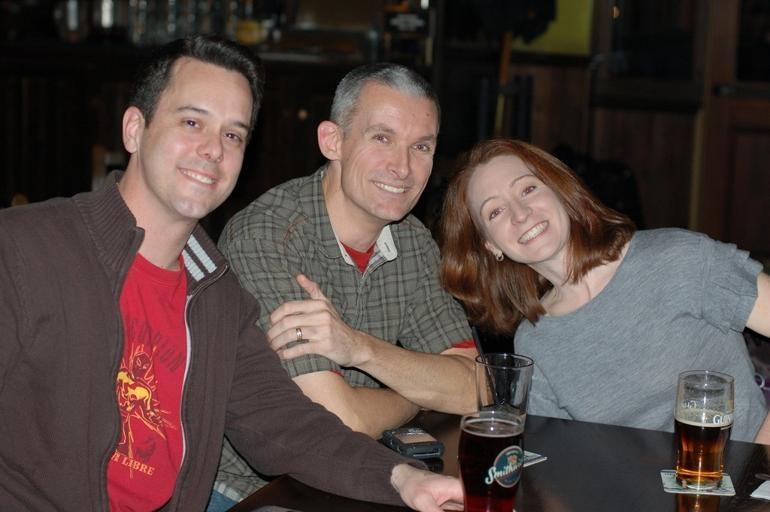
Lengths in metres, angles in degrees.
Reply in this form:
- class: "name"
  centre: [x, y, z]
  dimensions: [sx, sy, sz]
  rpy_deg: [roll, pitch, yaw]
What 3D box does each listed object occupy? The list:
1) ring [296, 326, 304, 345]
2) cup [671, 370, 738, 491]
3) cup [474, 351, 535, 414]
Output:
- class: "ring"
  centre: [-0.306, 0.287, 2.471]
  dimensions: [0.031, 0.050, 0.049]
  rpy_deg: [-5, 6, -3]
- class: "cup"
  centre: [0.897, 0.489, 1.953]
  dimensions: [0.147, 0.301, 0.157]
  rpy_deg: [3, 6, 0]
- class: "cup"
  centre: [0.342, 0.387, 2.018]
  dimensions: [0.162, 0.192, 0.173]
  rpy_deg: [2, 3, 0]
